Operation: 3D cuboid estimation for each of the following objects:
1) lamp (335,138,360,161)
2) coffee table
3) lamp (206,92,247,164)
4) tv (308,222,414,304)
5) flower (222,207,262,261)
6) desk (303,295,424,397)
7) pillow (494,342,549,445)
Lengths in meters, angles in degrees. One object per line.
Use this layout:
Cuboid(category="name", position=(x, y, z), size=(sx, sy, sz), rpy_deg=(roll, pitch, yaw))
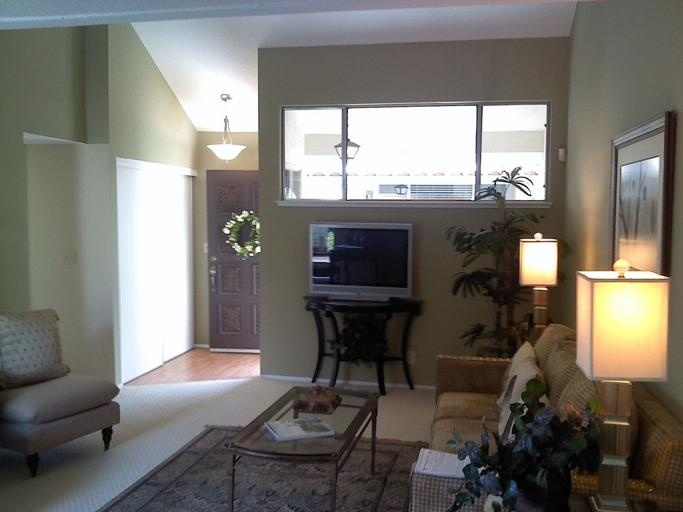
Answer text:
Cuboid(category="lamp", position=(0.072, -1.156, 6.070), size=(0.213, 0.180, 0.221), rpy_deg=(0, -3, 5))
Cuboid(category="coffee table", position=(-0.206, 1.305, 3.798), size=(0.705, 0.651, 1.177), rpy_deg=(2, 7, 19))
Cuboid(category="lamp", position=(-1.461, -1.612, 7.033), size=(0.469, 0.815, 0.494), rpy_deg=(-3, -4, 15))
Cuboid(category="tv", position=(0.249, 0.052, 5.823), size=(0.803, 0.609, 0.111), rpy_deg=(1, 0, 10))
Cuboid(category="flower", position=(-1.304, -0.293, 7.334), size=(0.562, 0.685, 0.267), rpy_deg=(-1, 3, -6))
Cuboid(category="desk", position=(0.167, 0.945, 5.943), size=(1.056, 0.886, 0.997), rpy_deg=(3, -3, -8))
Cuboid(category="pillow", position=(1.036, 0.785, 3.187), size=(0.100, 0.383, 0.584), rpy_deg=(11, -5, 9))
